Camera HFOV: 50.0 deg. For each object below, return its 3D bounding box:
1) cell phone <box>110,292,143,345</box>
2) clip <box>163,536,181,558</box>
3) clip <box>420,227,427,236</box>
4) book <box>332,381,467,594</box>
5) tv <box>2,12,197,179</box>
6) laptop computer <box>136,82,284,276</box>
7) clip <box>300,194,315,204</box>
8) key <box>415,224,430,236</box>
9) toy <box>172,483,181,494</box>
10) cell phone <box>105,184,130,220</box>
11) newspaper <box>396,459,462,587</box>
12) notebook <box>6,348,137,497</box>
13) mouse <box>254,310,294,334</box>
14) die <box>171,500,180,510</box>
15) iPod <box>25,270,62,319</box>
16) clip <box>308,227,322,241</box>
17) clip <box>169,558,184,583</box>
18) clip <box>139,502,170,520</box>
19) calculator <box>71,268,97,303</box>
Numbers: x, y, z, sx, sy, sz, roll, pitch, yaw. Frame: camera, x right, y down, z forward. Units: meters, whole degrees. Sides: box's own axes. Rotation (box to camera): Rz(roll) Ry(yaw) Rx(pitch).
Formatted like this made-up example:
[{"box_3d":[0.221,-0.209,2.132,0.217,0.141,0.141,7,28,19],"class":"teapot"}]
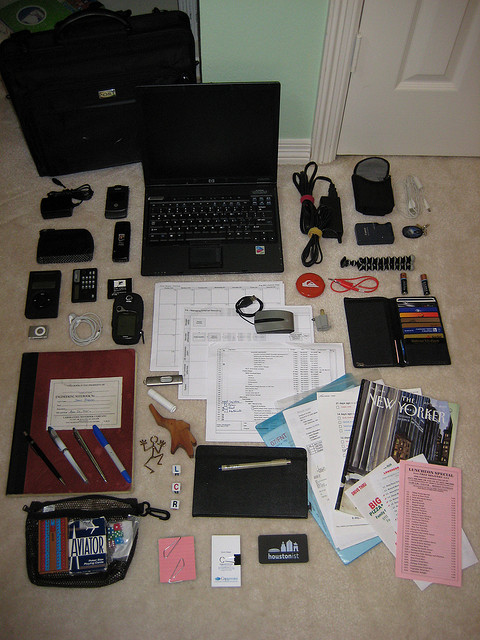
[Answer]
[{"box_3d":[-0.267,-0.012,1.213,0.070,0.138,0.030,-2,26,-15],"class":"cell phone"},{"box_3d":[-0.135,0.439,1.004,0.016,0.008,0.047,33,68,12],"class":"clip"},{"box_3d":[0.474,-0.231,1.327,0.017,0.013,0.021,11,64,3],"class":"clip"},{"box_3d":[0.336,0.283,1.101,0.306,0.017,0.485,-30,36,31],"class":"book"},{"box_3d":[-0.337,-0.619,1.498,0.466,0.514,0.364,-10,52,-5],"class":"tv"},{"box_3d":[-0.067,-0.407,1.342,0.408,0.393,0.396,5,47,-6],"class":"laptop computer"},{"box_3d":[0.169,-0.306,1.305,0.022,0.028,0.013,-1,67,6],"class":"clip"},{"box_3d":[0.476,-0.233,1.332,0.023,0.014,0.032,26,54,38],"class":"key"},{"box_3d":[-0.130,0.342,1.049,0.017,0.010,0.021,-3,65,-4],"class":"toy"},{"box_3d":[-0.325,-0.312,1.360,0.057,0.020,0.098,0,65,-2],"class":"cell phone"},{"box_3d":[0.372,0.394,1.015,0.128,0.012,0.222,9,65,2],"class":"newspaper"},{"box_3d":[-0.356,0.212,1.109,0.272,0.022,0.315,0,65,-3],"class":"notebook"},{"box_3d":[0.075,0.003,1.166,0.075,0.022,0.050,1,74,7],"class":"mouse"},{"box_3d":[-0.131,0.370,1.035,0.016,0.010,0.018,-3,65,-4],"class":"die"},{"box_3d":[-0.475,-0.061,1.243,0.076,0.012,0.126,-2,66,-4],"class":"iPod"},{"box_3d":[0.183,-0.209,1.258,0.021,0.026,0.015,15,91,2],"class":"clip"},{"box_3d":[-0.121,0.478,0.985,0.026,0.006,0.042,2,65,-2],"class":"clip"},{"box_3d":[-0.164,0.382,1.029,0.045,0.015,0.028,15,61,4],"class":"clip"},{"box_3d":[-0.376,-0.084,1.252,0.058,0.014,0.087,-2,66,-4],"class":"calculator"}]
